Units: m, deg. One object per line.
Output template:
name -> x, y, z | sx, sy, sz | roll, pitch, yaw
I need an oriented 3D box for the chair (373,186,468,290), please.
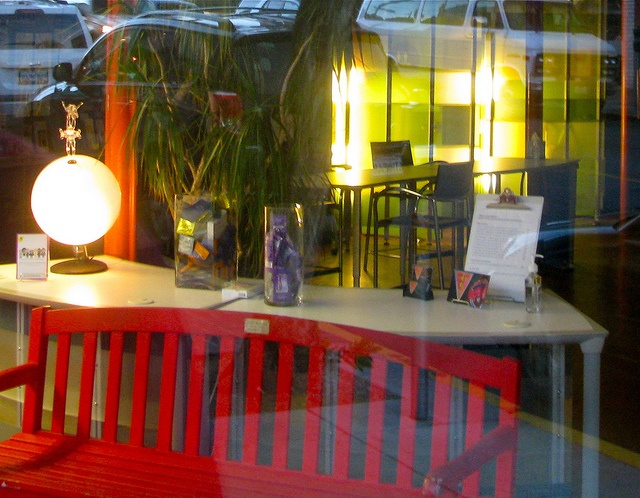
chair -> 0.248, -0.054, 1.753 | 0.201, 0.387, 0.212 | 2, 9, 17

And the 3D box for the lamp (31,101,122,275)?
lamp -> -0.799, -0.206, 2.222 | 0.277, 0.537, 0.294 | -12, -7, 26

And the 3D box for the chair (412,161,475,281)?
chair -> 0.348, -0.087, 1.753 | 0.155, 0.245, 0.154 | -12, 2, -31

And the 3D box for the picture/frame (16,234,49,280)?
picture/frame -> -0.894, 0.027, 2.119 | 0.120, 0.183, 0.023 | -1, -5, 2

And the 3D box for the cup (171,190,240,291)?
cup -> -0.347, -0.032, 2.065 | 0.168, 0.288, 0.185 | 1, 11, 0
